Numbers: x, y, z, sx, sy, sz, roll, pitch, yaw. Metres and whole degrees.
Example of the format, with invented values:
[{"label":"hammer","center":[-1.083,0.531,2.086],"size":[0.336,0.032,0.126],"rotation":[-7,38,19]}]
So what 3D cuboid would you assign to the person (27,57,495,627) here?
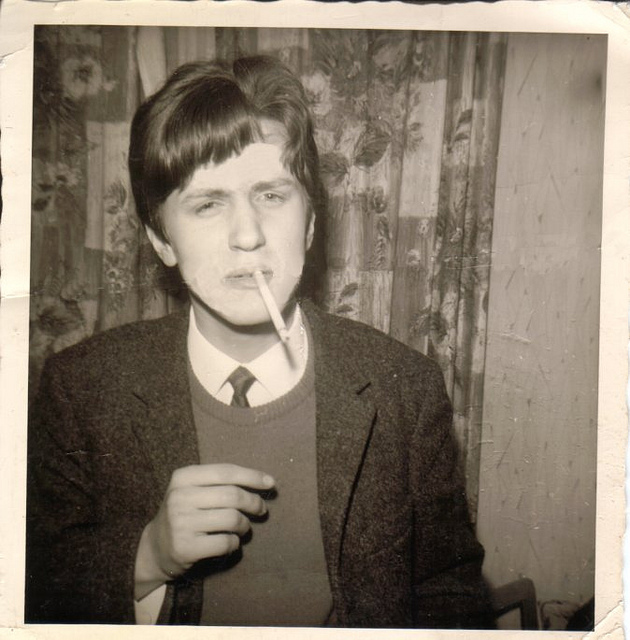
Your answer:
[{"label":"person","center":[-0.158,0.091,2.182],"size":[1.327,1.384,0.780],"rotation":[1,12,1]}]

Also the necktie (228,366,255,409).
[{"label":"necktie","center":[-0.174,0.163,2.114],"size":[0.087,0.141,0.007],"rotation":[0,-7,-1]}]
